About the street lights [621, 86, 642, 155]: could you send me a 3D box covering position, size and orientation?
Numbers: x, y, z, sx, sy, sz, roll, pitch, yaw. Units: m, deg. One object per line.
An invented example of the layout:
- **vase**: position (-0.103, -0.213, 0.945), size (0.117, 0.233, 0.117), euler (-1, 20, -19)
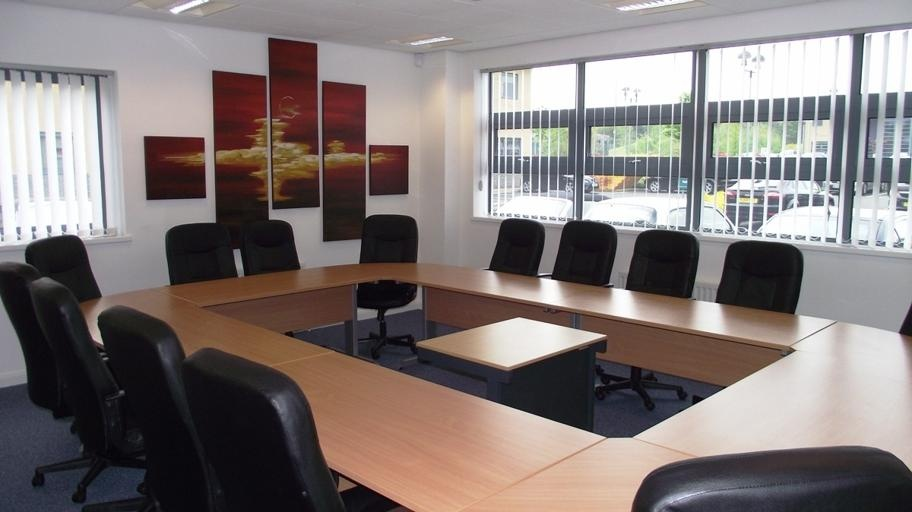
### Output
- **street lights**: position (2.215, -1.790, 7.708), size (0.309, 0.731, 0.072), euler (9, 15, 40)
